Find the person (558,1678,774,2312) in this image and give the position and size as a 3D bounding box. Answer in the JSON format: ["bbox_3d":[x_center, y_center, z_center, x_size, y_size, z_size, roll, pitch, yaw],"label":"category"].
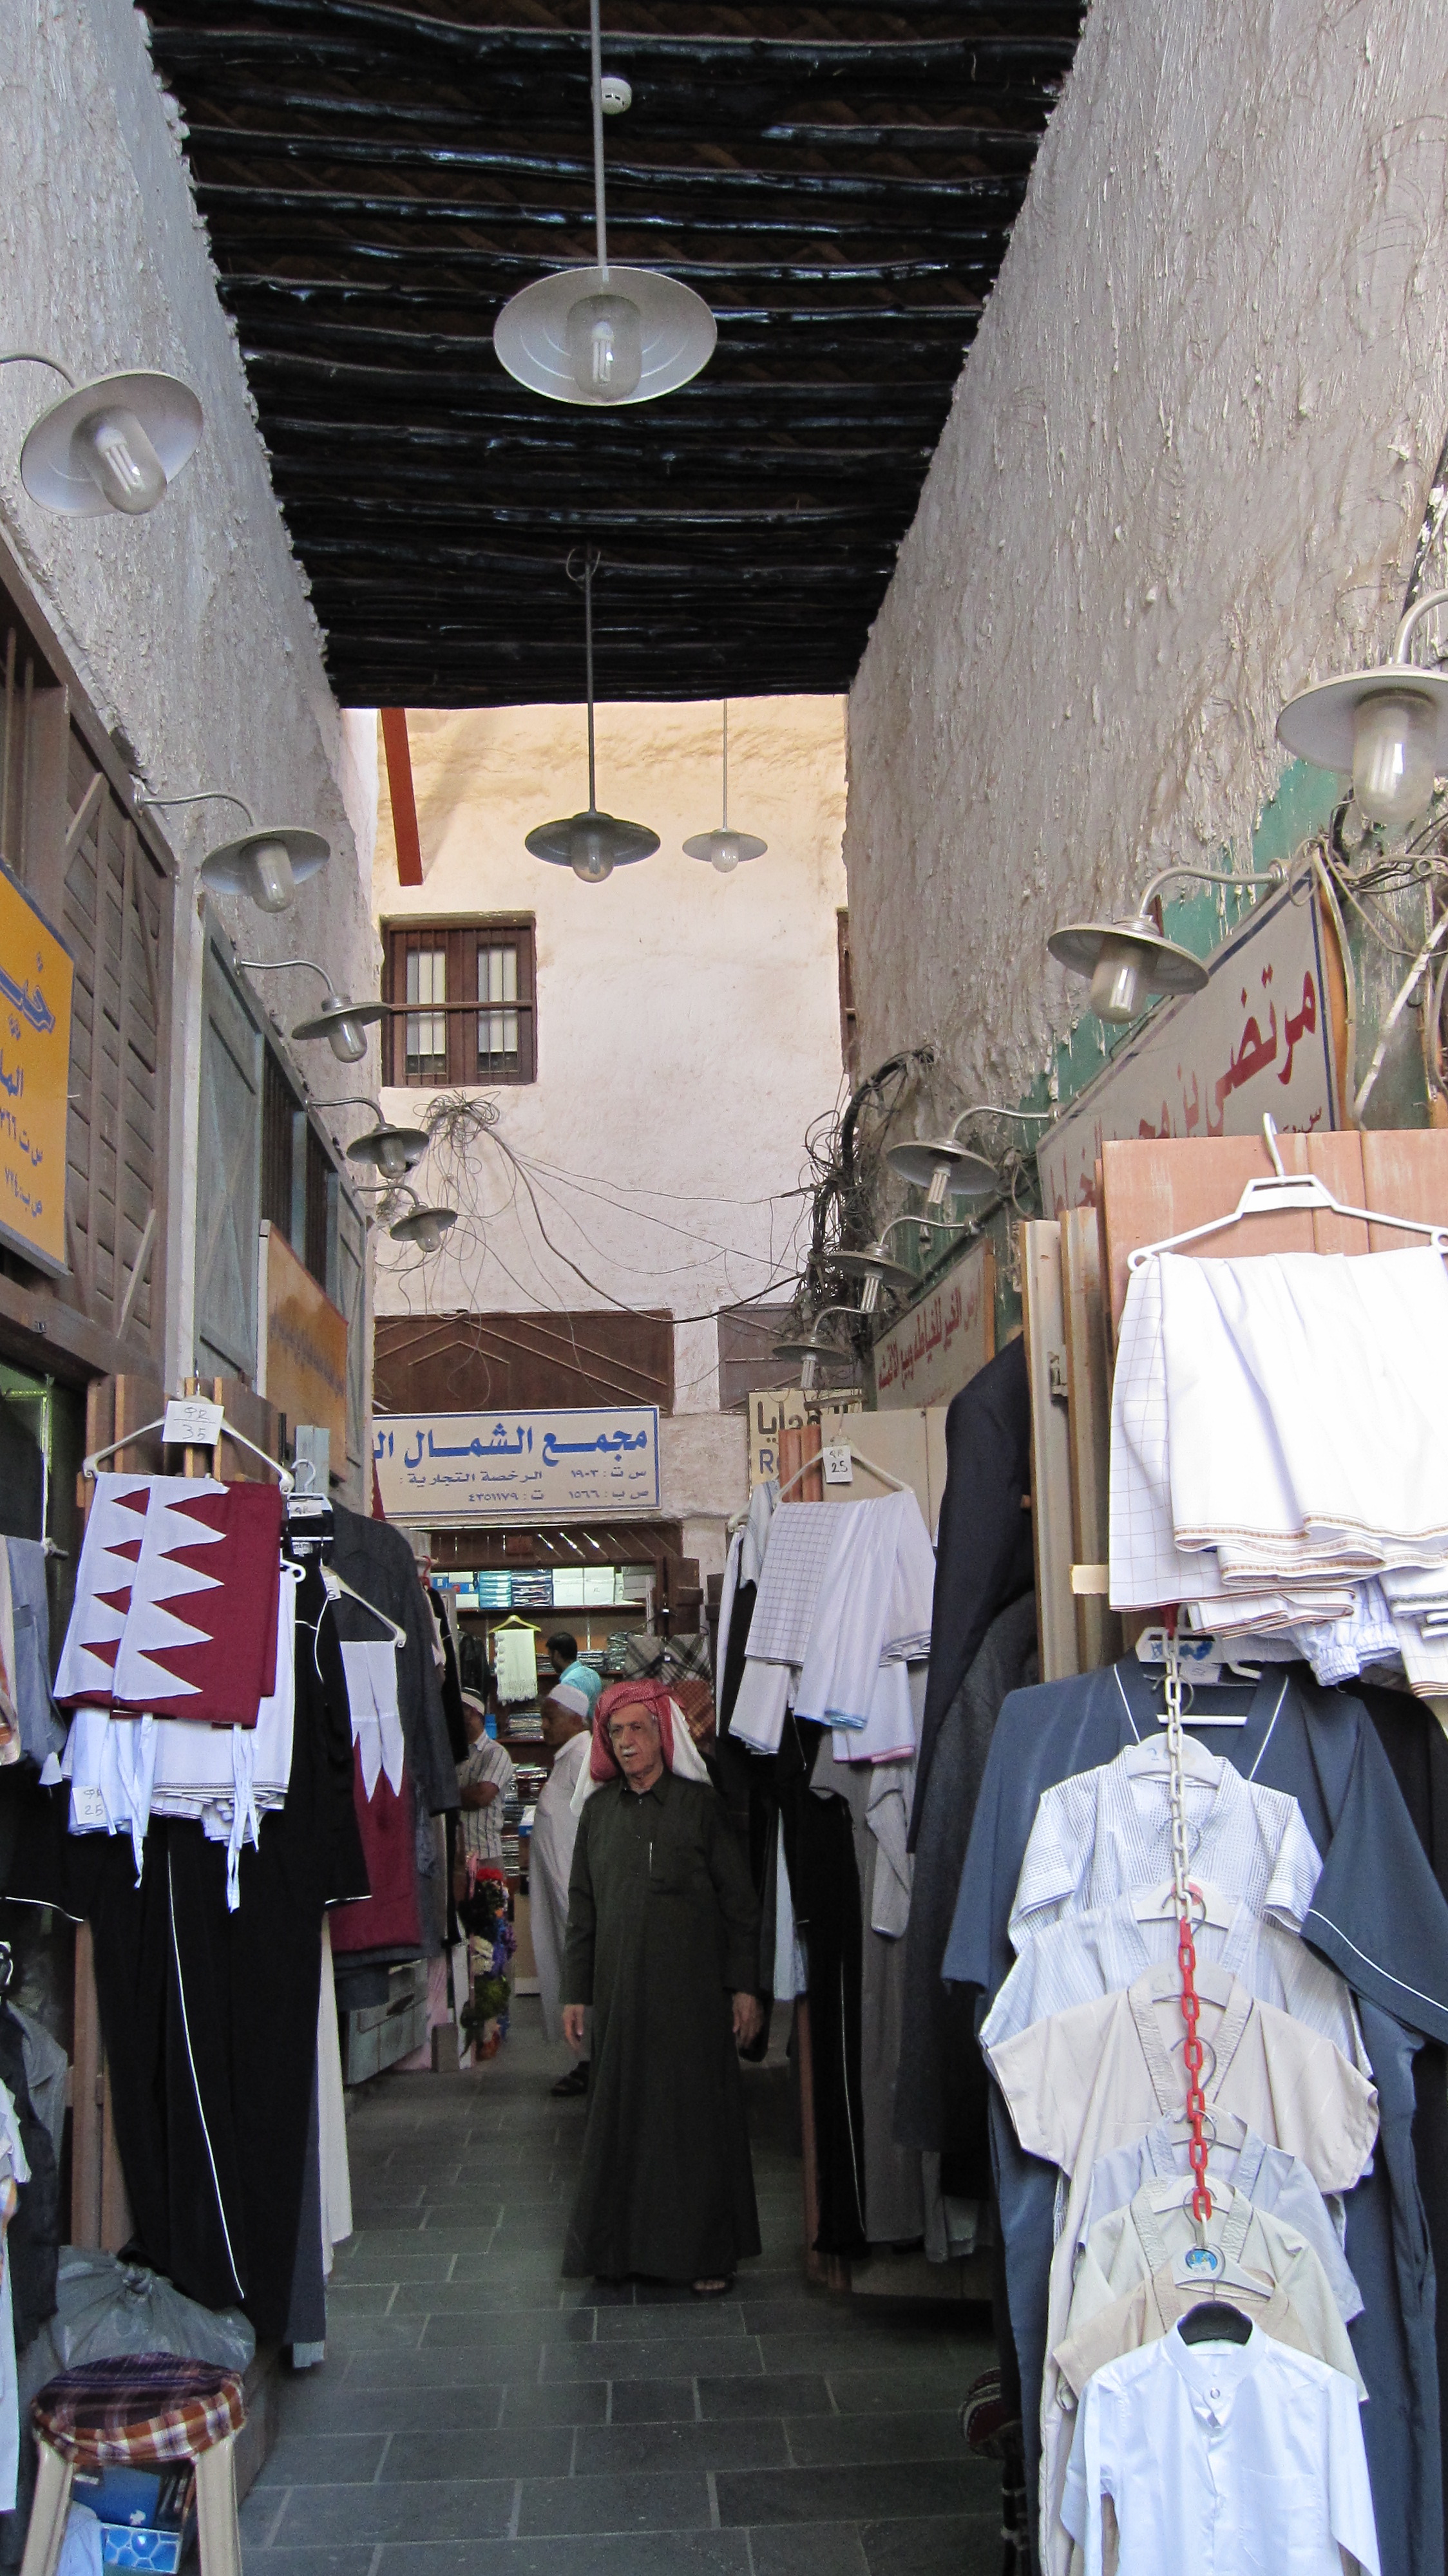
[{"bbox_3d":[-0.143,1.614,4.225,0.457,1.344,0.579,-1,-8,-5],"label":"person"}]

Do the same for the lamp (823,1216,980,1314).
[{"bbox_3d":[0.620,-0.087,6.256,0.393,0.257,0.306,-33,-20,16],"label":"lamp"}]

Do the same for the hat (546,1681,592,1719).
[{"bbox_3d":[-0.646,1.731,7.560,0.117,0.136,0.173,18,-15,18],"label":"hat"}]

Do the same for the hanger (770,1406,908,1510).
[{"bbox_3d":[0.268,0.392,4.282,0.277,0.224,0.442,-4,-10,8],"label":"hanger"}]

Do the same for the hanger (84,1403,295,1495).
[{"bbox_3d":[-0.918,0.282,3.122,0.180,0.156,0.669,-3,-11,1],"label":"hanger"}]

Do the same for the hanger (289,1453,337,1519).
[{"bbox_3d":[-0.799,0.390,3.521,0.079,0.211,0.096,1,-3,-2],"label":"hanger"}]

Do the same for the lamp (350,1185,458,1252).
[{"bbox_3d":[-1.711,-0.363,9.613,0.335,0.325,0.247,-10,-43,15],"label":"lamp"}]

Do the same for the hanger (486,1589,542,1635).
[{"bbox_3d":[-1.318,2.075,11.495,0.218,0.379,0.264,0,-13,0],"label":"hanger"}]
